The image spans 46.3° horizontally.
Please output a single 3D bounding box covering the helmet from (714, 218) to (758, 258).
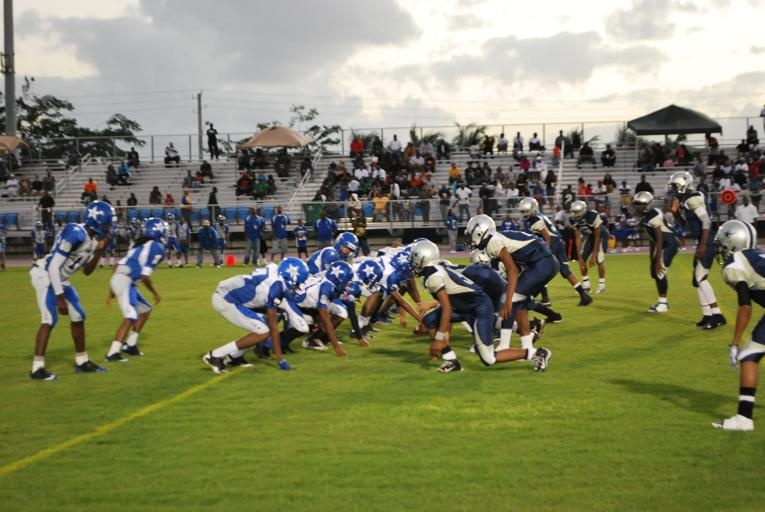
[{"bbox_3d":[4.964,-0.234,12.367,0.474,0.489,0.555,4,19,-30],"label":"helmet"}]

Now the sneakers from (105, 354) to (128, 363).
[{"bbox_3d":[-4.335,1.696,14.721,0.382,0.141,0.126,2,-3,-9],"label":"sneakers"}]

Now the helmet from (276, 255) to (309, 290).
[{"bbox_3d":[-1.418,0.276,14.087,0.468,0.452,0.309,0,6,-8],"label":"helmet"}]

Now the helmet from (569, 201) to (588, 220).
[{"bbox_3d":[4.255,-0.992,19.458,0.509,0.421,0.384,-6,6,-37],"label":"helmet"}]

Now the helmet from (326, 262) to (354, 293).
[{"bbox_3d":[-0.703,0.350,14.698,0.549,0.413,0.415,-2,23,-4],"label":"helmet"}]

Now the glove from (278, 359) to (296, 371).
[{"bbox_3d":[-1.550,1.726,14.165,0.329,0.123,0.118,6,6,22],"label":"glove"}]

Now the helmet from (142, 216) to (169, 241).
[{"bbox_3d":[-3.836,-0.462,15.081,0.408,0.374,0.561,-1,6,-17],"label":"helmet"}]

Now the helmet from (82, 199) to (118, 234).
[{"bbox_3d":[-4.425,-0.618,14.202,0.591,0.491,0.473,9,8,-39],"label":"helmet"}]

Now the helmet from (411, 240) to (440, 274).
[{"bbox_3d":[0.671,0.028,13.843,0.491,0.515,0.337,1,6,0],"label":"helmet"}]

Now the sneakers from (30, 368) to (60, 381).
[{"bbox_3d":[-5.199,1.847,13.833,0.423,0.155,0.176,2,-2,-4],"label":"sneakers"}]

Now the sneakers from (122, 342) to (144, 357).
[{"bbox_3d":[-4.257,1.586,15.068,0.445,0.180,0.141,14,-1,-19],"label":"sneakers"}]

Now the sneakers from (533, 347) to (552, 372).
[{"bbox_3d":[2.438,1.600,13.849,0.239,0.361,0.266,2,6,7],"label":"sneakers"}]

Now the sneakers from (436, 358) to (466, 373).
[{"bbox_3d":[1.060,1.708,13.846,0.470,0.193,0.159,-4,1,-1],"label":"sneakers"}]

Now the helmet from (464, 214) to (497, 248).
[{"bbox_3d":[1.571,-0.445,14.748,0.587,0.517,0.461,6,23,36],"label":"helmet"}]

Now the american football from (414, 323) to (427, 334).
[{"bbox_3d":[0.659,1.322,16.187,0.291,0.177,0.288,2,6,15],"label":"american football"}]

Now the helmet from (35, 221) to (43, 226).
[{"bbox_3d":[-11.644,-1.089,30.467,0.234,0.158,0.338,7,0,-43],"label":"helmet"}]

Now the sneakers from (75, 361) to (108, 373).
[{"bbox_3d":[-4.605,1.774,14.224,0.554,0.203,0.188,1,0,-5],"label":"sneakers"}]

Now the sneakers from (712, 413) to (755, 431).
[{"bbox_3d":[4.639,2.222,11.862,0.578,0.216,0.201,1,-11,14],"label":"sneakers"}]
